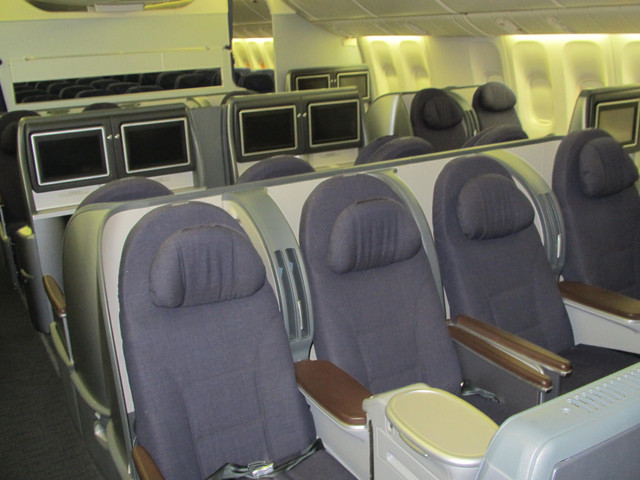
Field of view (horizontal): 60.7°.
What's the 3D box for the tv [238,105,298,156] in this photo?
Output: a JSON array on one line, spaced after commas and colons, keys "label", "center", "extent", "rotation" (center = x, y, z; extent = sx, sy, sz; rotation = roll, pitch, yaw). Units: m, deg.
[{"label": "tv", "center": [-0.442, -0.898, 4.394], "extent": [0.523, 0.415, 0.074], "rotation": [-6, 14, -21]}]
